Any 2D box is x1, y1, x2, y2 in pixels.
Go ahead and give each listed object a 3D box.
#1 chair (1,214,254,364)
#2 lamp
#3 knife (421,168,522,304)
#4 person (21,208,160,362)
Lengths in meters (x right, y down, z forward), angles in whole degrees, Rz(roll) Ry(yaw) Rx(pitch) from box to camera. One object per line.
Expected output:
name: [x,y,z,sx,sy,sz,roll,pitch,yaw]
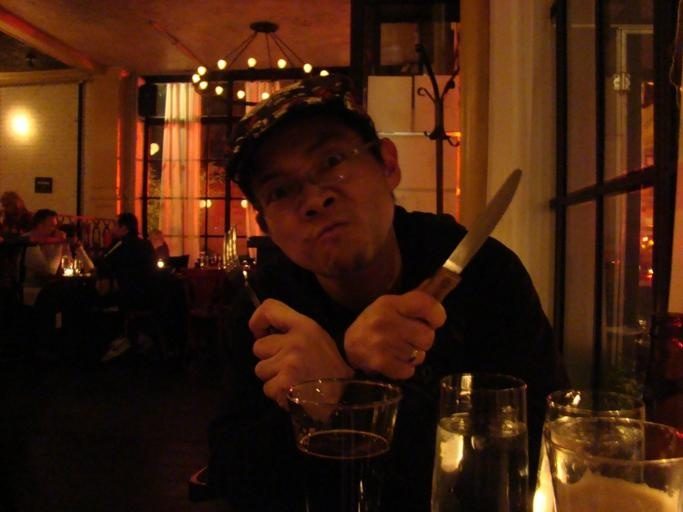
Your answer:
chair: [-2.002,0.373,6.256,1.232,0.938,1.823,1,-5,3]
lamp: [-0.896,-2.308,8.349,1.595,0.674,1.737,1,11,6]
knife: [0.509,-0.067,2.785,0.096,0.687,0.080,35,-7,-2]
person: [-2.151,0.347,6.156,0.887,1.317,1.139,-6,-12,29]
